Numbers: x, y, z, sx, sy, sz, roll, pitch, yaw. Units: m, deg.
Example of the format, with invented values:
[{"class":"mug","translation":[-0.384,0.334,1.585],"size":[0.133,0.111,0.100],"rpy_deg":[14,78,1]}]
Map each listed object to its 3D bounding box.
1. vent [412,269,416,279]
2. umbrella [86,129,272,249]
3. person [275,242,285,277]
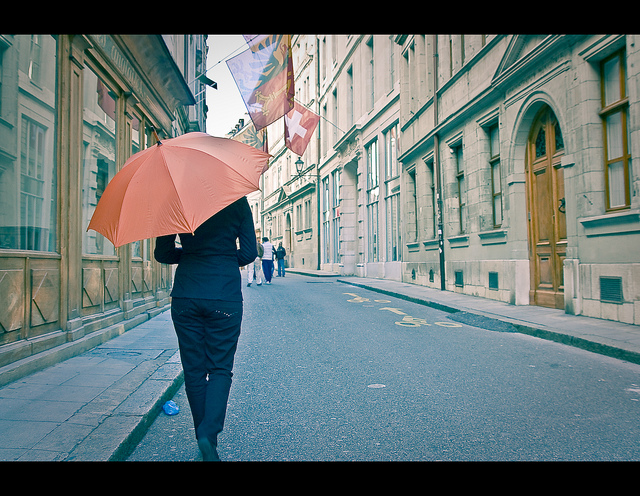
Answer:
[{"class":"vent","translation":[3.299,0.880,19.173],"size":[0.190,0.380,0.262],"rpy_deg":[1,-4,5]},{"class":"umbrella","translation":[-1.184,-0.514,4.448],"size":[1.370,0.955,0.732],"rpy_deg":[1,4,10]},{"class":"person","translation":[-2.110,0.592,28.736],"size":[0.343,1.759,0.664],"rpy_deg":[1,4,-3]}]
